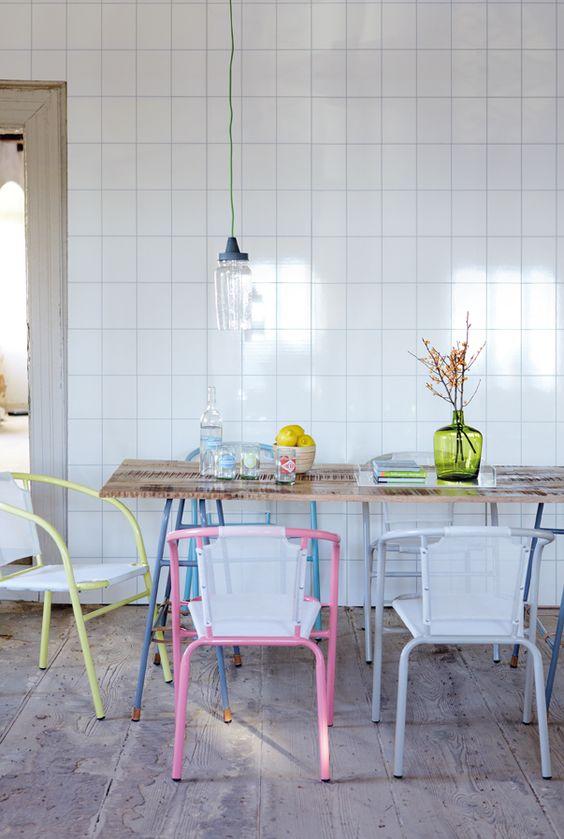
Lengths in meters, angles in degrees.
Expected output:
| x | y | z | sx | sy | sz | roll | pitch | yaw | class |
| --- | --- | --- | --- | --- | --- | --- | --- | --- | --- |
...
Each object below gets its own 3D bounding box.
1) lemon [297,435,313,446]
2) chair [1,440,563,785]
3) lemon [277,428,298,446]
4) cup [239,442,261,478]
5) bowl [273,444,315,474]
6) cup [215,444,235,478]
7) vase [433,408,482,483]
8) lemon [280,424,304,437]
| x | y | z | sx | sy | sz | roll | pitch | yaw | class |
| --- | --- | --- | --- | --- | --- | --- | --- | --- | --- |
| 0.084 | 0.078 | 2.674 | 0.042 | 0.044 | 0.044 | 4 | -13 | 5 | lemon |
| 0.030 | 0.516 | 2.526 | 1.892 | 0.688 | 0.955 | 0 | 2 | -12 | chair |
| 0.026 | 0.058 | 2.695 | 0.057 | 0.082 | 0.069 | 4 | 8 | 2 | lemon |
| -0.106 | 0.143 | 2.539 | 0.090 | 0.179 | 0.094 | 0 | -1 | 0 | cup |
| 0.062 | 0.135 | 2.552 | 0.100 | 0.078 | 0.111 | 0 | -2 | -2 | bowl |
| -0.188 | 0.144 | 2.576 | 0.090 | 0.152 | 0.097 | -1 | 0 | 0 | cup |
| 0.615 | 0.091 | 2.603 | 0.157 | 0.235 | 0.160 | 1 | -3 | 22 | vase |
| 0.044 | 0.032 | 2.721 | 0.065 | 0.042 | 0.044 | 3 | -18 | -9 | lemon |
